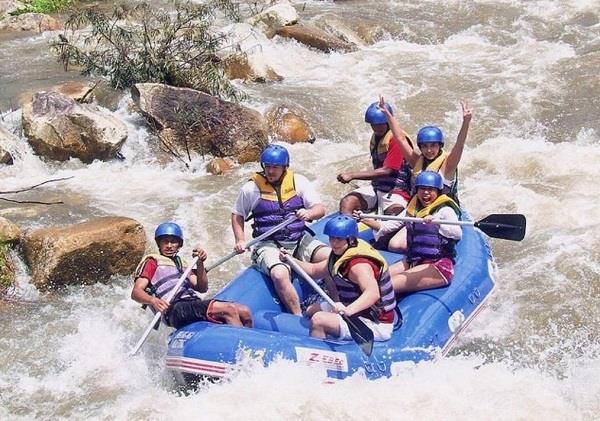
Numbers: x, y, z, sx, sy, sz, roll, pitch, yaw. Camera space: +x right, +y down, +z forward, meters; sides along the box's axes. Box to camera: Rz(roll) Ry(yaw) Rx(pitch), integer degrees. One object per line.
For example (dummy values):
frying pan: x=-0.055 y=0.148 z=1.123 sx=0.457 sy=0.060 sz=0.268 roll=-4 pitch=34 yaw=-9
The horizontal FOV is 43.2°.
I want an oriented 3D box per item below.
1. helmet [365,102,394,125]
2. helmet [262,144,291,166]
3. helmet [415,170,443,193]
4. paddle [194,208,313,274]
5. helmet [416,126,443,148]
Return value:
helmet: x=1.210 y=-1.482 z=11.377 sx=0.411 sy=0.241 sz=0.377 roll=-5 pitch=10 yaw=-26
helmet: x=-0.324 y=-0.745 z=10.647 sx=0.282 sy=0.343 sz=0.257 roll=5 pitch=69 yaw=11
helmet: x=1.765 y=-0.419 z=10.376 sx=0.271 sy=0.248 sz=0.328 roll=7 pitch=18 yaw=9
paddle: x=-0.652 y=0.475 z=11.058 sx=1.535 sy=0.208 sz=0.220 roll=-34 pitch=29 yaw=-10
helmet: x=1.887 y=-1.103 z=11.023 sx=0.334 sy=0.315 sz=0.380 roll=1 pitch=42 yaw=12
